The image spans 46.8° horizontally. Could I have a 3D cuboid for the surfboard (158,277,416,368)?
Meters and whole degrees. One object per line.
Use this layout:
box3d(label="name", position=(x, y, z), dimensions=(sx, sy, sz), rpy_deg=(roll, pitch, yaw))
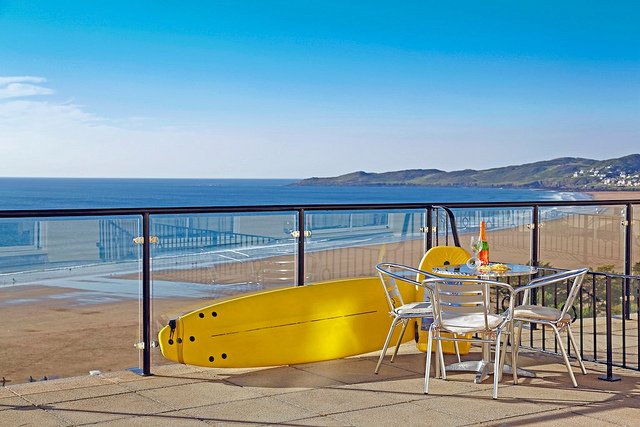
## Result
box3d(label="surfboard", position=(-0.292, 1.297, 8.755), dimensions=(3.954, 0.902, 0.553), rpy_deg=(-16, -14, 36))

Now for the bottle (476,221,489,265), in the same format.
box3d(label="bottle", position=(1.867, 0.339, 8.538), dimensions=(0.137, 0.463, 0.322), rpy_deg=(-2, 0, 11))

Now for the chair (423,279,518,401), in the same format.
box3d(label="chair", position=(1.708, 1.325, 8.410), dimensions=(1.023, 1.267, 1.501), rpy_deg=(-2, 0, 12))

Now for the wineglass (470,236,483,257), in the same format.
box3d(label="wineglass", position=(1.807, 0.375, 8.551), dimensions=(0.127, 0.228, 0.245), rpy_deg=(-2, 0, 3))
